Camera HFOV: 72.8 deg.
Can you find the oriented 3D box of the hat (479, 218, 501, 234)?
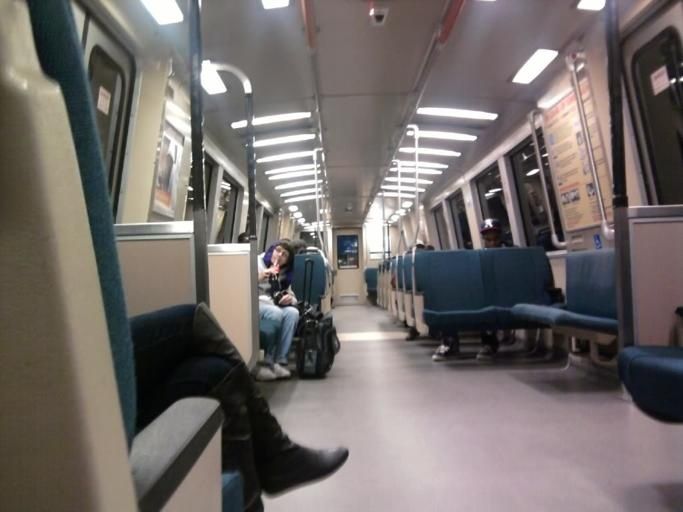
[{"bbox_3d":[1.602,-0.337,5.128,0.205,0.168,0.355,0,-3,13],"label":"hat"}]

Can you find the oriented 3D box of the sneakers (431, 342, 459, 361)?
[{"bbox_3d":[0.948,0.862,4.219,0.215,0.122,0.287,-3,-2,23],"label":"sneakers"}]

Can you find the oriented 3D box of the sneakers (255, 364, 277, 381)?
[{"bbox_3d":[-0.577,0.904,3.564,0.078,0.094,0.218,2,-11,-24],"label":"sneakers"}]

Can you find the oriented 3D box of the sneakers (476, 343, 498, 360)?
[{"bbox_3d":[1.343,0.875,4.247,0.123,0.067,0.173,-1,2,12],"label":"sneakers"}]

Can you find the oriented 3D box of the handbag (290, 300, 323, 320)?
[{"bbox_3d":[-0.300,0.485,4.024,0.243,0.265,0.162,-3,3,-20],"label":"handbag"}]

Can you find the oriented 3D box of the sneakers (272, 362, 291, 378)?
[{"bbox_3d":[-0.484,0.905,3.684,0.084,0.100,0.237,1,-12,-15],"label":"sneakers"}]

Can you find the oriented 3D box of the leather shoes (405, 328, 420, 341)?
[{"bbox_3d":[0.874,0.965,5.700,0.083,0.119,0.264,-5,-11,17],"label":"leather shoes"}]
